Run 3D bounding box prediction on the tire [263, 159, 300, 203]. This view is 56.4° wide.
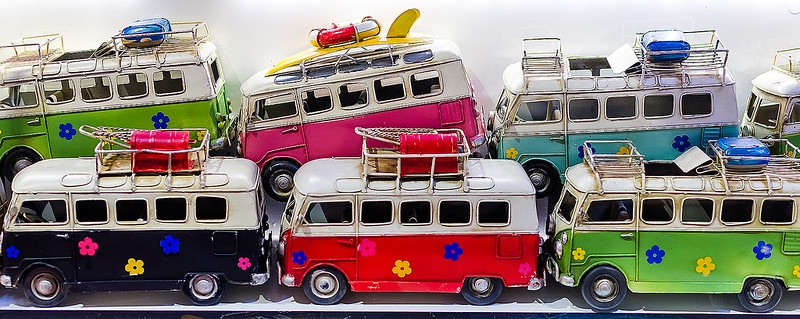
[{"bbox_3d":[-3.593,0.577,22.779,1.771,1.282,0.552,0,11,-2],"label":"tire"}]

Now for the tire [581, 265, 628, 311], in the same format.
[{"bbox_3d":[5.902,3.647,21.504,1.773,1.281,0.507,-2,4,1],"label":"tire"}]

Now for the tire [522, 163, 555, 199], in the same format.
[{"bbox_3d":[4.176,0.586,22.600,1.405,1.022,0.436,2,15,-1],"label":"tire"}]

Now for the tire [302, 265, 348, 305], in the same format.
[{"bbox_3d":[-2.144,3.568,21.576,1.158,0.944,0.334,24,13,-4],"label":"tire"}]

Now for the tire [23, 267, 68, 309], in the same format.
[{"bbox_3d":[-10.210,3.641,21.535,1.679,1.212,0.505,0,8,-1],"label":"tire"}]
